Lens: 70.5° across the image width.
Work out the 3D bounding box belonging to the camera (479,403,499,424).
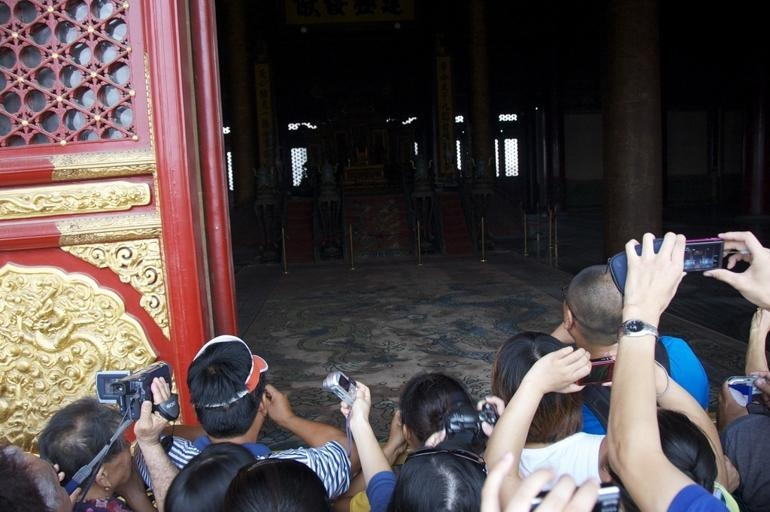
[{"bbox_3d":[0.326,0.497,1.719,0.069,0.051,0.028,26,24,19],"label":"camera"}]

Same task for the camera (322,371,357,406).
[{"bbox_3d":[-0.127,0.405,1.731,0.033,0.075,0.124,-52,4,-33],"label":"camera"}]

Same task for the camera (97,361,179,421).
[{"bbox_3d":[-0.763,0.432,1.795,0.122,0.158,0.271,-4,1,27],"label":"camera"}]

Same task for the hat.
[{"bbox_3d":[-0.483,0.369,1.847,0.188,0.120,0.256,7,21,23],"label":"hat"}]
